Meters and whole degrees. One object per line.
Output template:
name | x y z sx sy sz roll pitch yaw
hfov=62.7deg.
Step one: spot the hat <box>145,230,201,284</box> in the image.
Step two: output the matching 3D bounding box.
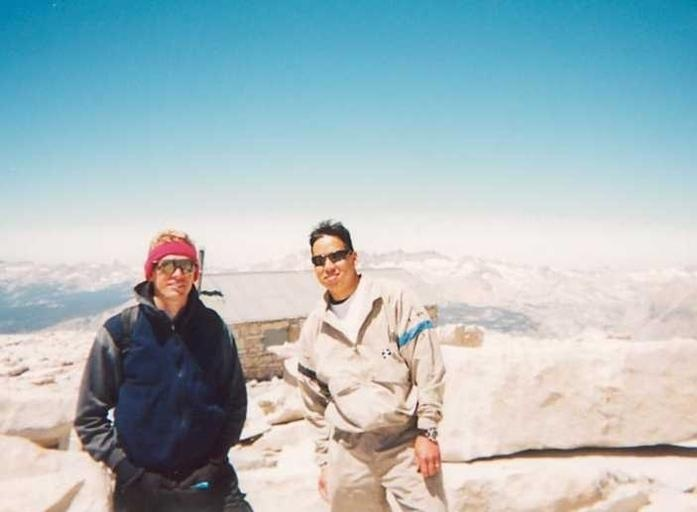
hat | -1.865 0.042 6.016 0.429 0.423 0.371 4 49 -25
